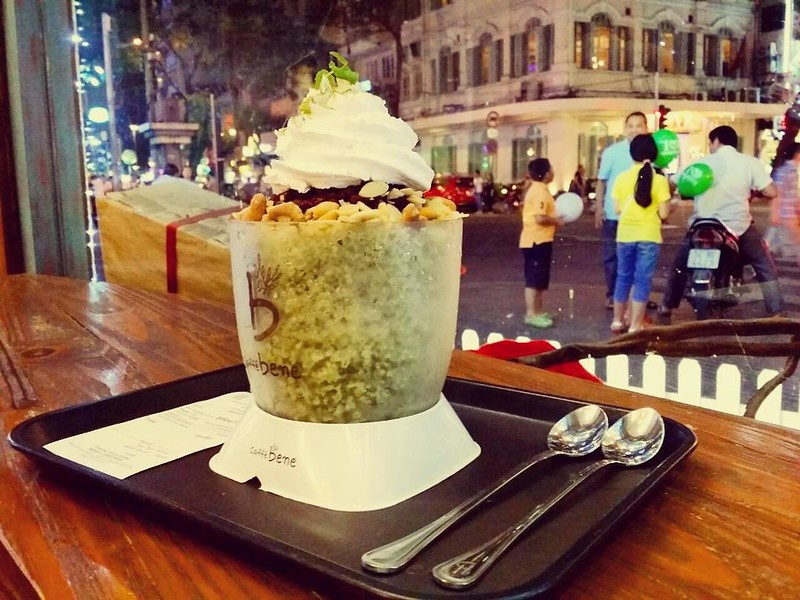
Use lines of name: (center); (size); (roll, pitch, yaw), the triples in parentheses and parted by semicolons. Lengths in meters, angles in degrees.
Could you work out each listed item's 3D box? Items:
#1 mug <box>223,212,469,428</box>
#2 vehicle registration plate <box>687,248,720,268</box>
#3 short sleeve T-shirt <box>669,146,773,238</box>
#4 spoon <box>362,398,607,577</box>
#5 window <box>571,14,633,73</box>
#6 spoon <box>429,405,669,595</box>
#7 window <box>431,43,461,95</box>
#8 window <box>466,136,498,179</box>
mug: (-0.058, 0.014, 0.725); (0.212, 0.152, 0.192); (1, 4, 30)
vehicle registration plate: (0.893, -0.121, 2.051); (0.086, 0.054, 0.020); (6, 9, 24)
short sleeve T-shirt: (0.946, -0.325, 1.995); (0.171, 0.237, 0.141); (3, -29, 26)
spoon: (0.120, 0.131, 0.692); (0.085, 0.058, 0.418); (6, 16, 45)
window: (0.821, -1.019, 2.761); (0.206, 0.191, 0.107); (6, 19, 24)
spoon: (0.182, 0.157, 0.680); (0.086, 0.058, 0.420); (-6, 7, 42)
window: (0.251, -1.152, 3.494); (0.173, 0.298, 0.033); (-3, -15, 8)
window: (0.489, -0.846, 4.135); (0.238, 0.018, 0.285); (8, -35, 9)
